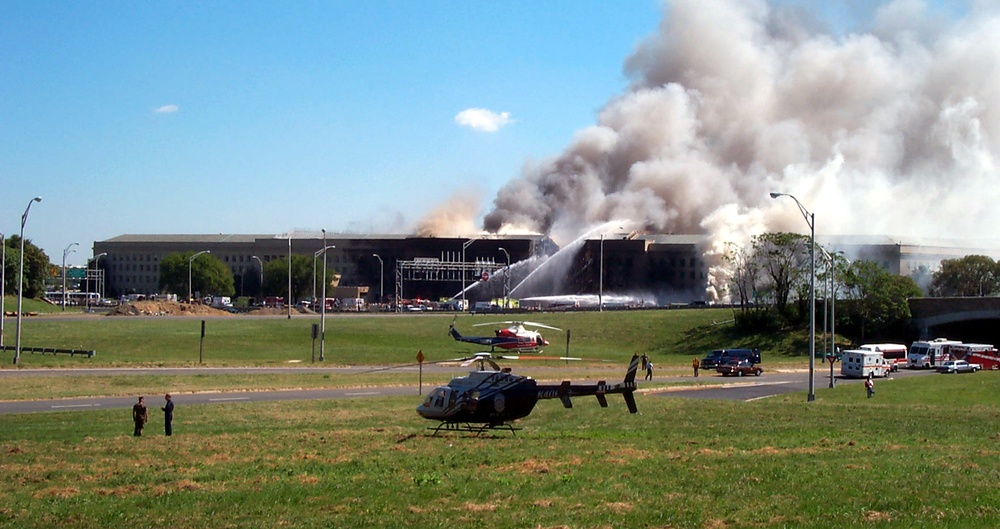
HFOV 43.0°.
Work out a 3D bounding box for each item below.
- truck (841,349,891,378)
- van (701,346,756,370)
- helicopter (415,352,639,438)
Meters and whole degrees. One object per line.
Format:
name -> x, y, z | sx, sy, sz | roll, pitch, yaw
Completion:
truck -> 41.274, 11.208, 142.433 | 4.787, 2.047, 2.901 | -4, 5, -30
van -> 26.606, 10.924, 145.806 | 5.322, 1.499, 2.613 | 0, 1, 4
helicopter -> 2.477, 12.816, 120.481 | 23.978, 6.978, 8.748 | 0, -1, 1
